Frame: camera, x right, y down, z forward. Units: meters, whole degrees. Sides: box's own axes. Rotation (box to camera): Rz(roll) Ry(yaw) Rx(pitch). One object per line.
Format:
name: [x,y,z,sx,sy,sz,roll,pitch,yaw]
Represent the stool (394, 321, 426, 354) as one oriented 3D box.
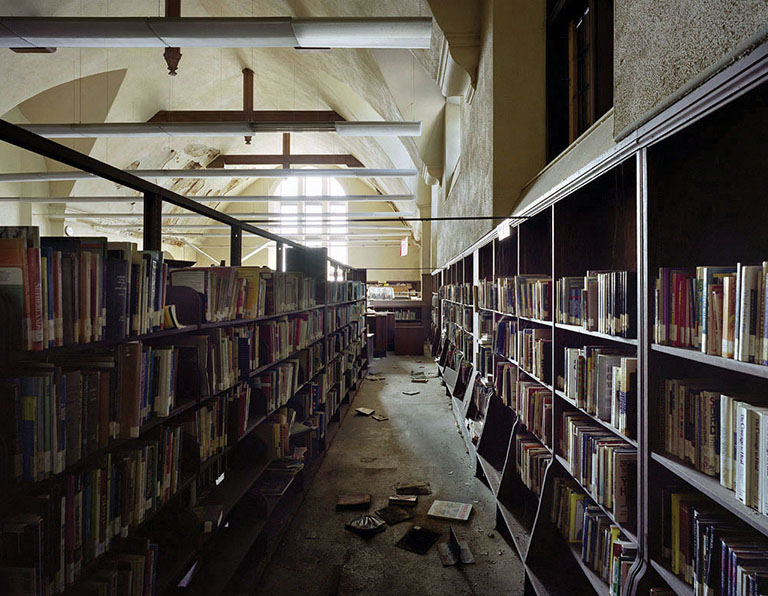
stool: [0.576,0.793,13.435,0.559,0.583,0.594,1,7,7]
